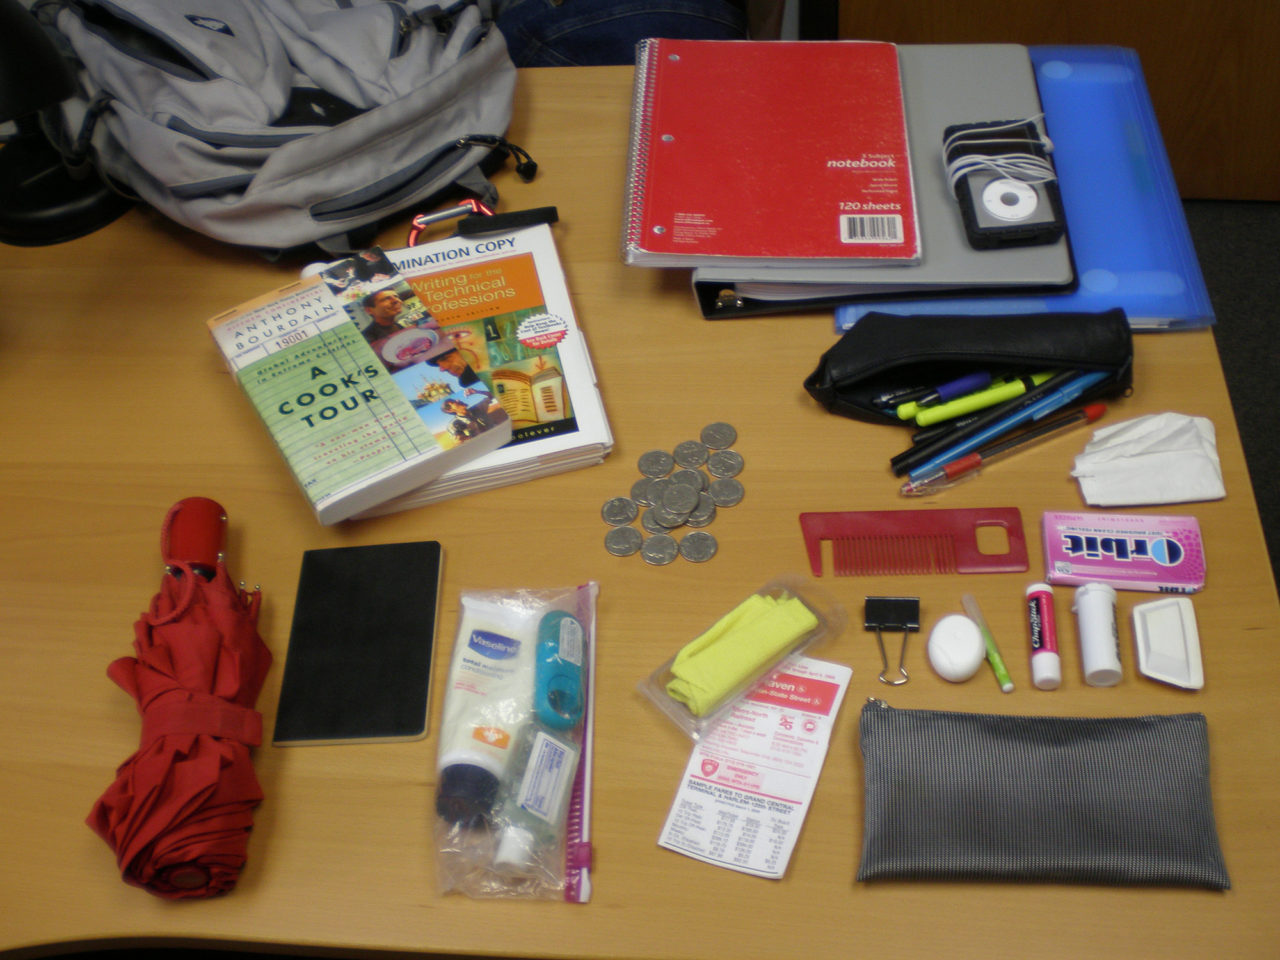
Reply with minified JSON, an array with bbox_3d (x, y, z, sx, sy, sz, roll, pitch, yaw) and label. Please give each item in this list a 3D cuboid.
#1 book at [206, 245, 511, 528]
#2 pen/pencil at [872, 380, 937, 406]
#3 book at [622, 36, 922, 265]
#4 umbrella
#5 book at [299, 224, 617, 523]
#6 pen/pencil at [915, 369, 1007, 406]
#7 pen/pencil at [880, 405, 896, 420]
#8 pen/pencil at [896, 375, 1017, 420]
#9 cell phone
[{"bbox_3d":[-0.279,-0.089,1.224,0.276,0.068,0.348,-29,61,-16],"label":"book"},{"bbox_3d":[0.277,-0.092,1.123,0.063,0.012,0.015,-12,57,-18],"label":"pen/pencil"},{"bbox_3d":[0.156,-0.374,1.235,0.399,0.055,0.440,0,59,3],"label":"book"},{"bbox_3d":[-0.403,0.210,1.016,0.145,0.120,0.313,-8,58,3],"label":"umbrella"},{"bbox_3d":[-0.200,-0.105,1.155,0.393,0.111,0.459,-5,51,-13],"label":"book"},{"bbox_3d":[0.328,-0.096,1.115,0.125,0.027,0.023,-13,97,-7],"label":"pen/pencil"},{"bbox_3d":[0.258,-0.073,1.124,0.017,0.004,0.013,1,102,5],"label":"pen/pencil"},{"bbox_3d":[0.329,-0.085,1.110,0.101,0.018,0.017,-17,74,-7],"label":"pen/pencil"},{"bbox_3d":[-0.273,0.156,1.044,0.143,0.011,0.200,-2,58,2],"label":"cell phone"}]
